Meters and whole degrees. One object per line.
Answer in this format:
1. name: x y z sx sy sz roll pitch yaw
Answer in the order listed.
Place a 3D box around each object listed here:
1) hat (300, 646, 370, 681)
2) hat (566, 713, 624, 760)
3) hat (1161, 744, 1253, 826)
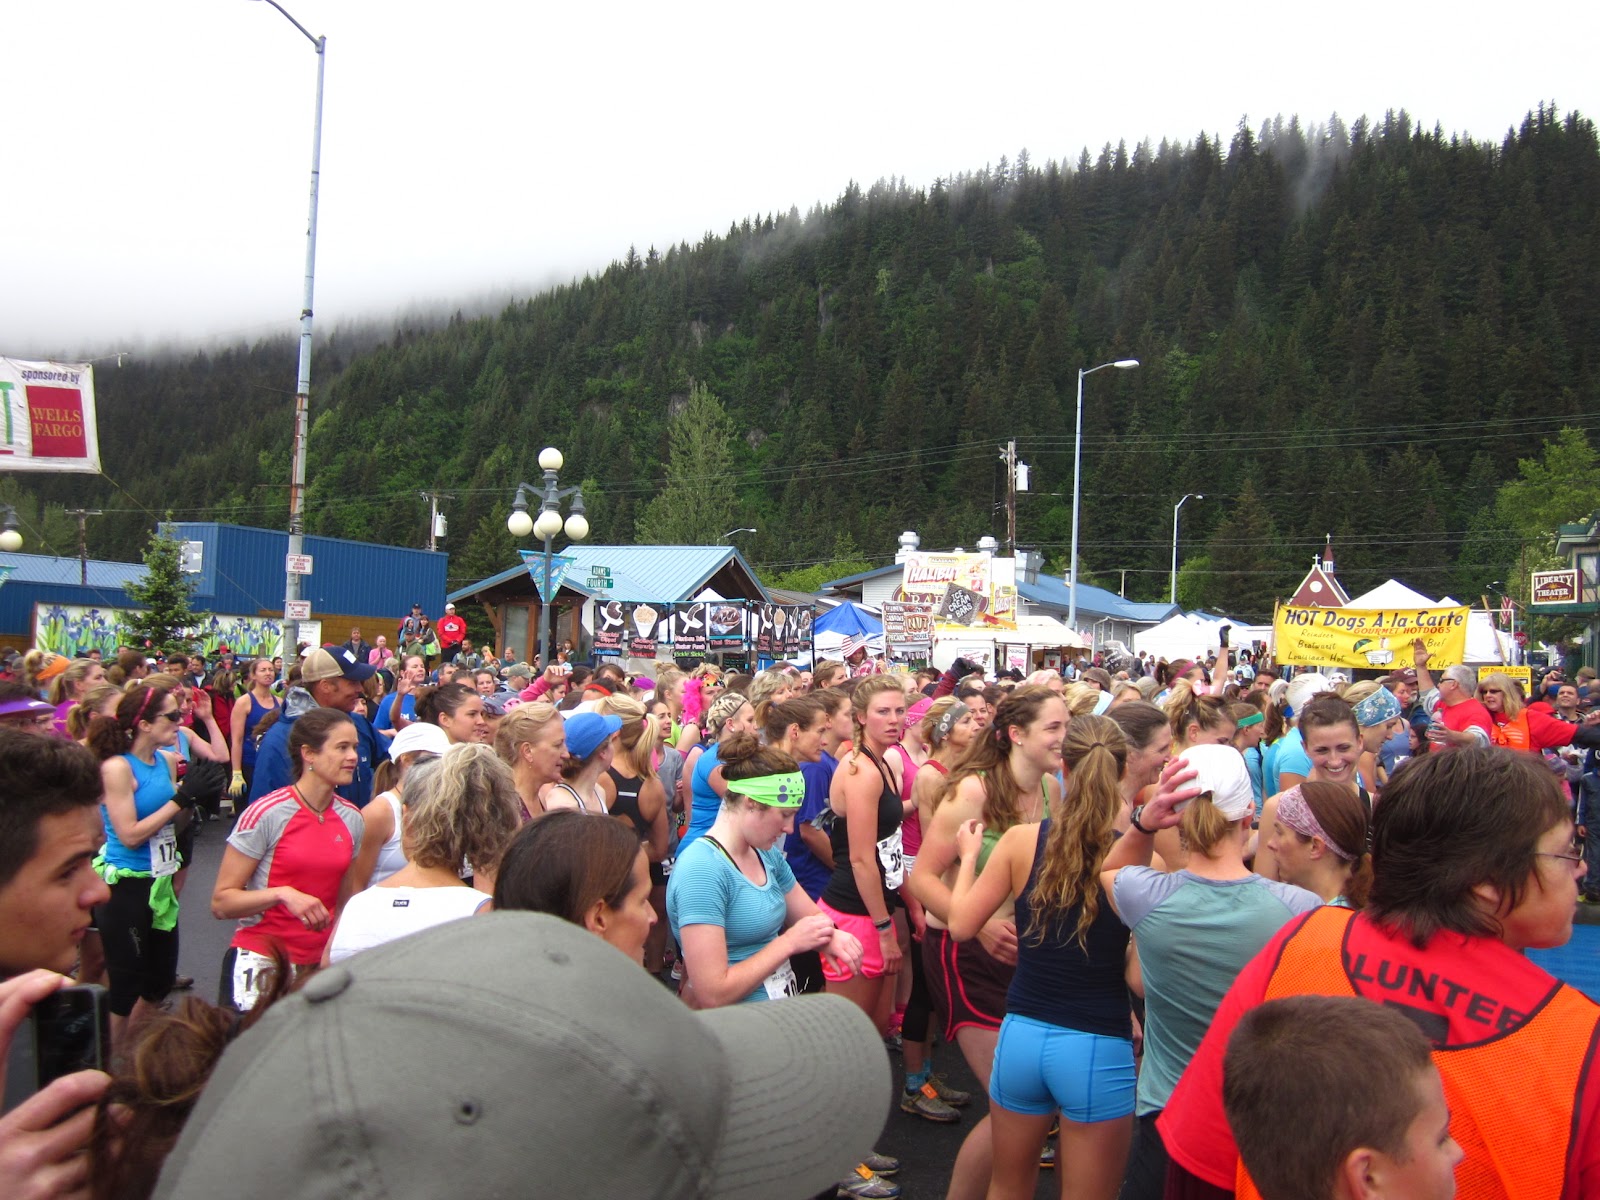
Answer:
1. hat: -2.797 0.454 10.208 0.387 0.229 0.281 1 12 -30
2. hat: -0.983 0.631 8.058 0.234 0.182 0.133 -25 -29 -11
3. hat: 1.343 0.630 5.591 0.192 0.249 0.293 1 13 22
